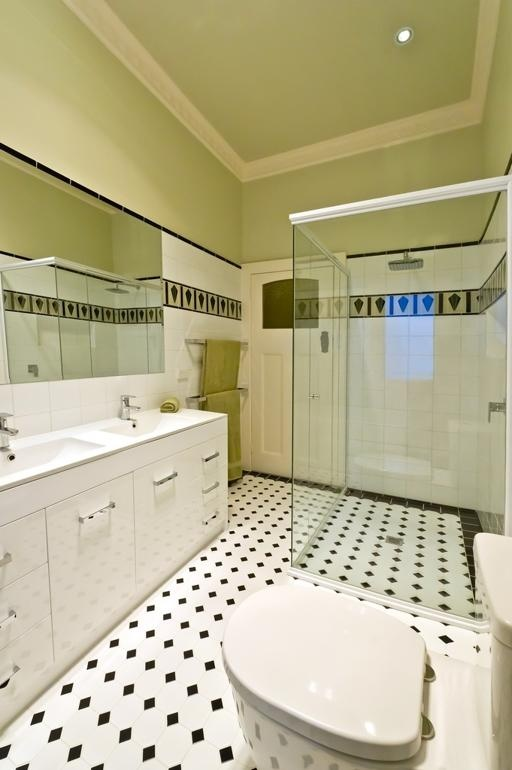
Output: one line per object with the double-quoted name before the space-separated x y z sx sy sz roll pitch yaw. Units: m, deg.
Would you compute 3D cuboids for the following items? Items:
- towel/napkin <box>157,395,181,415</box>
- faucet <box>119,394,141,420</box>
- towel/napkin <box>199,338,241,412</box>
"towel/napkin" -0.450 0.114 2.548 0.095 0.066 0.095 -1 12 -13
"faucet" -0.593 0.107 2.305 0.139 0.174 0.059 5 8 44
"towel/napkin" -0.238 -0.061 3.109 0.041 0.341 0.409 2 3 17
